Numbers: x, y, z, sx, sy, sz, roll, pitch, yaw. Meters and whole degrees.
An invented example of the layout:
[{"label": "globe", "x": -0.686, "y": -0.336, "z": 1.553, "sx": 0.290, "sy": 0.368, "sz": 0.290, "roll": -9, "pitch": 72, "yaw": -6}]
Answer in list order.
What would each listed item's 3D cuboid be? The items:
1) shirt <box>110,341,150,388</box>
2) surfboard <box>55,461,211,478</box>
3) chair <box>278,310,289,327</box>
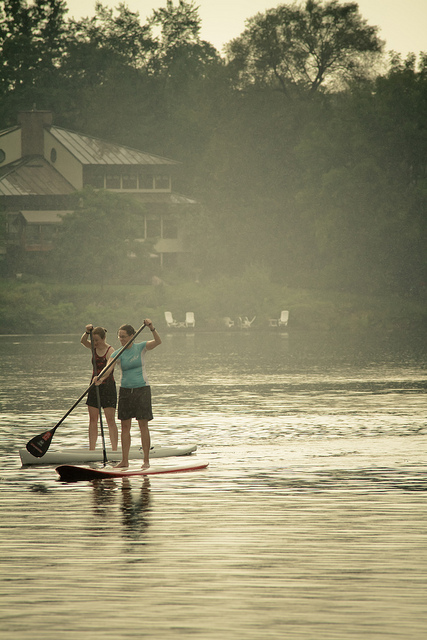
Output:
[{"label": "shirt", "x": -0.863, "y": 0.443, "z": 14.338, "sx": 0.263, "sy": 0.512, "sz": 0.288, "roll": -4, "pitch": 4, "yaw": 15}, {"label": "surfboard", "x": -0.887, "y": 1.548, "z": 14.521, "sx": 0.514, "sy": 0.194, "sz": 2.262, "roll": 1, "pitch": -3, "yaw": 33}, {"label": "chair", "x": 3.003, "y": -0.118, "z": 60.309, "sx": 0.548, "sy": 1.088, "sz": 0.607, "roll": 0, "pitch": 0, "yaw": 6}]
